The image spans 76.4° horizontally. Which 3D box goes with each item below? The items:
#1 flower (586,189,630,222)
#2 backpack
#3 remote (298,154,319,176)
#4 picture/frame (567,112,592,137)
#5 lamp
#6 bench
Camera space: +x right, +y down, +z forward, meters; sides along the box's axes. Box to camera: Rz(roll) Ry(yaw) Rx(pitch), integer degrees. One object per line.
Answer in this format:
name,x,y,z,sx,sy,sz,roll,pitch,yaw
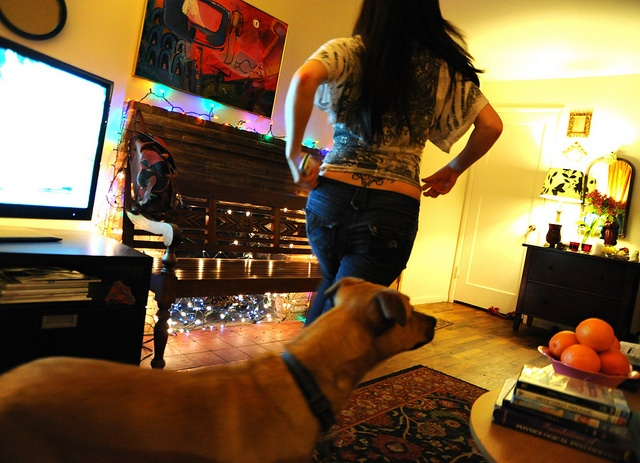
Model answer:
flower,3.371,-0.304,4.808,0.414,0.400,0.339,12,5,35
backpack,-1.083,-0.345,2.538,0.418,0.524,0.276,10,4,21
remote,-0.052,-0.257,1.511,0.022,0.087,0.083,21,36,24
picture/frame,3.336,-1.360,5.180,0.032,0.401,0.323,5,3,-43
lamp,2.953,-0.267,5.007,0.465,0.926,0.456,12,-3,33
bench,-0.477,0.184,3.131,0.703,1.061,1.828,12,4,43
